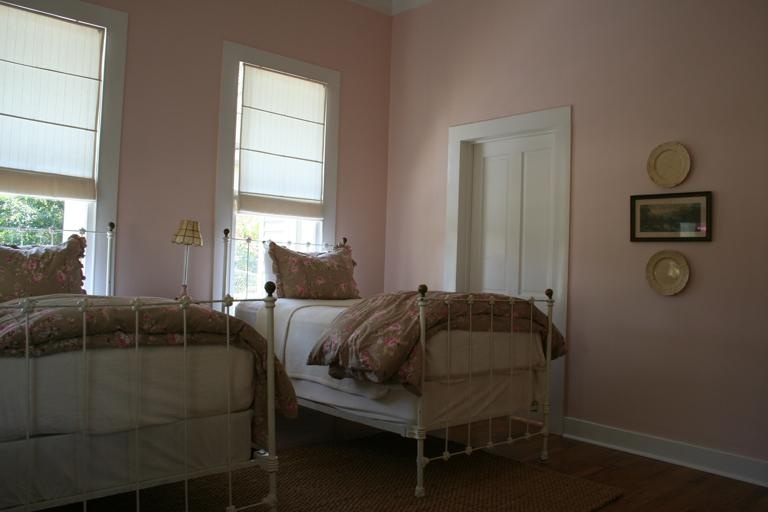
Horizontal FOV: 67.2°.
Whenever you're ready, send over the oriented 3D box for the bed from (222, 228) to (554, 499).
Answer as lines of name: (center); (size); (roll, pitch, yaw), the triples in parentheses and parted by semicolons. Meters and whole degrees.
bed: (0.049, 0.609, 4.300); (1.363, 1.309, 1.921); (1, -3, -37)
